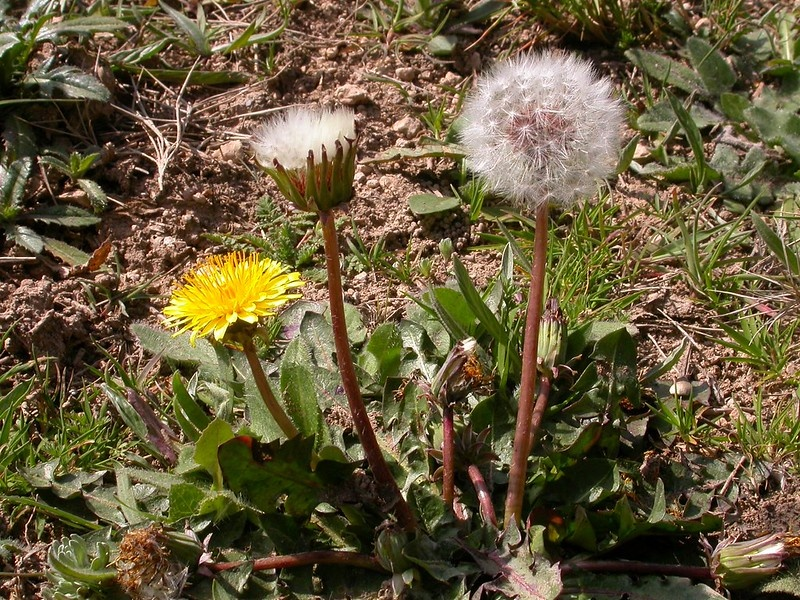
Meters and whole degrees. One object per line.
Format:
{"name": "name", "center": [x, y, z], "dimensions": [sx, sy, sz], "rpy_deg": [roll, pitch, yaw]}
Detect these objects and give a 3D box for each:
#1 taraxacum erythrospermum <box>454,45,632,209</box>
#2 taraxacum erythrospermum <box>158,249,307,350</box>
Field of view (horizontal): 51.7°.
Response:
{"name": "taraxacum erythrospermum", "center": [0.510, -0.600, 3.097], "dimensions": [0.608, 0.409, 0.584], "rpy_deg": [10, 50, 12]}
{"name": "taraxacum erythrospermum", "center": [-0.671, -0.058, 3.222], "dimensions": [0.493, 0.513, 0.244], "rpy_deg": [-19, 78, 29]}
